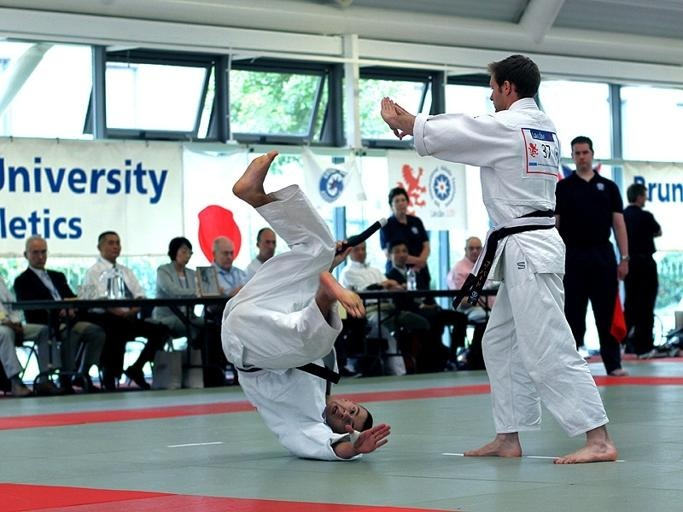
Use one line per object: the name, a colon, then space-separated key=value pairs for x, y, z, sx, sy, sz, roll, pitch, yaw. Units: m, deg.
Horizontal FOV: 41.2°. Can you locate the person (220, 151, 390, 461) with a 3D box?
person: x=-0.109 y=0.278 z=4.375 sx=0.731 sy=1.504 sz=0.863 roll=-9 pitch=19 yaw=-34

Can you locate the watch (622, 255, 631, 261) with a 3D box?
watch: x=2.523 y=0.001 z=8.084 sx=0.067 sy=0.046 sz=0.077 roll=3 pitch=-17 yaw=-5

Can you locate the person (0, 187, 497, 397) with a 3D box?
person: x=-0.354 y=-0.037 z=4.597 sx=1.461 sy=0.752 sz=1.445 roll=-3 pitch=5 yaw=-24
